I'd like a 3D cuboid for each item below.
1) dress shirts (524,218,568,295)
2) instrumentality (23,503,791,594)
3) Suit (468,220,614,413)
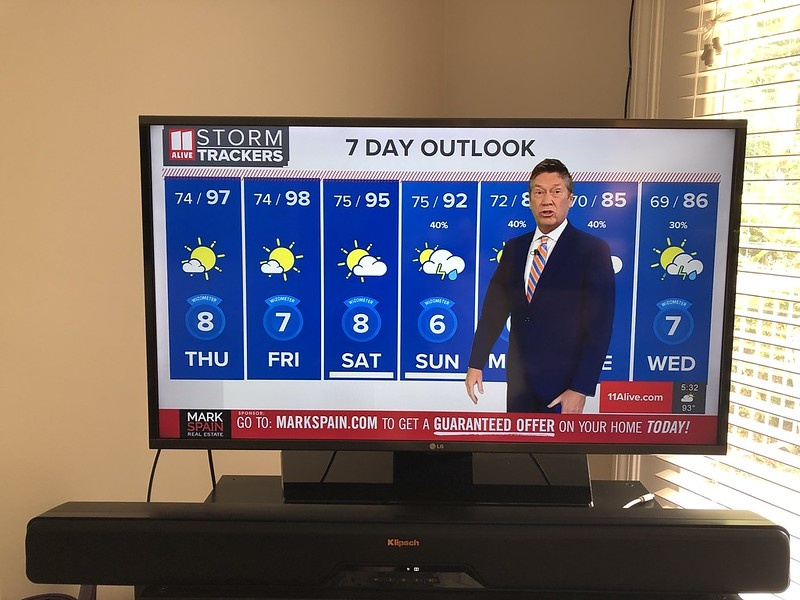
[{"bbox_3d":[0.342,-0.106,2.141,0.083,0.171,0.057,3,14,17],"label":"dress shirts"},{"bbox_3d":[0.017,0.579,2.031,1.715,0.216,0.111,-1,9,1],"label":"instrumentality"},{"bbox_3d":[0.348,0.163,2.240,0.333,0.740,0.201,6,20,19],"label":"Suit"}]
